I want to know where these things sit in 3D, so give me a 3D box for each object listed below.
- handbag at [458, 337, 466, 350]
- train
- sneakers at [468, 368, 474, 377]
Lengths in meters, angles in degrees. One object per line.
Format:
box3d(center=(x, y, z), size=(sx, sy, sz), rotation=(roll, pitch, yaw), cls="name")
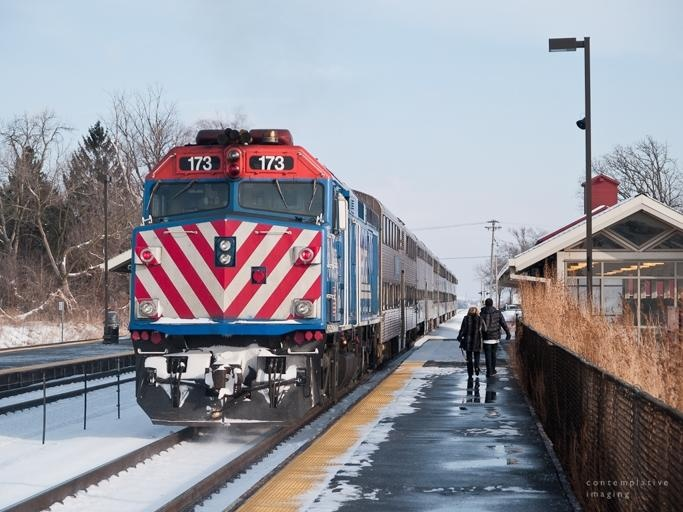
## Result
box3d(center=(3.219, 2.328, 19.007), size=(0.094, 0.286, 0.206), rotation=(4, -2, -19), cls="handbag")
box3d(center=(-0.321, 0.503, 15.724), size=(2.982, 5.049, 10.535), rotation=(-2, -2, 16), cls="train")
box3d(center=(3.348, 3.018, 18.566), size=(0.093, 0.258, 0.213), rotation=(-1, -2, -7), cls="sneakers")
